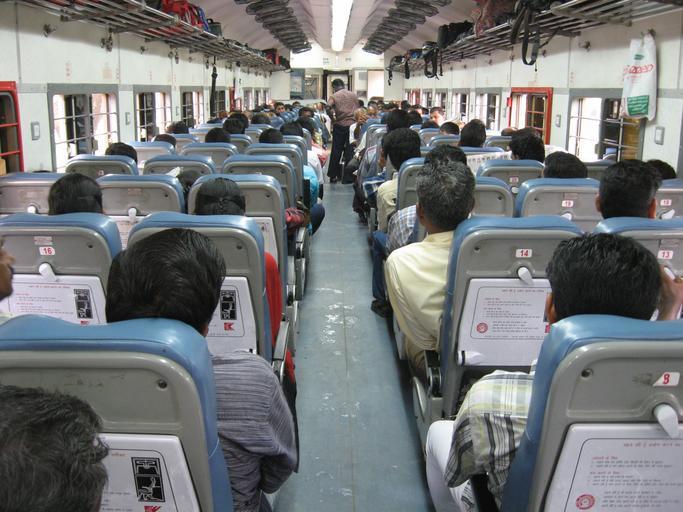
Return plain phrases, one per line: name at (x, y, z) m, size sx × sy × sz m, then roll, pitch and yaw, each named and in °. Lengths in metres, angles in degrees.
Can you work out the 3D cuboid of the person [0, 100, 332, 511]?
person at (-0.889, 0.239, 2.491) m, size 0.959 × 1.754 × 1.390 m, roll 1°, pitch 27°, yaw 2°
